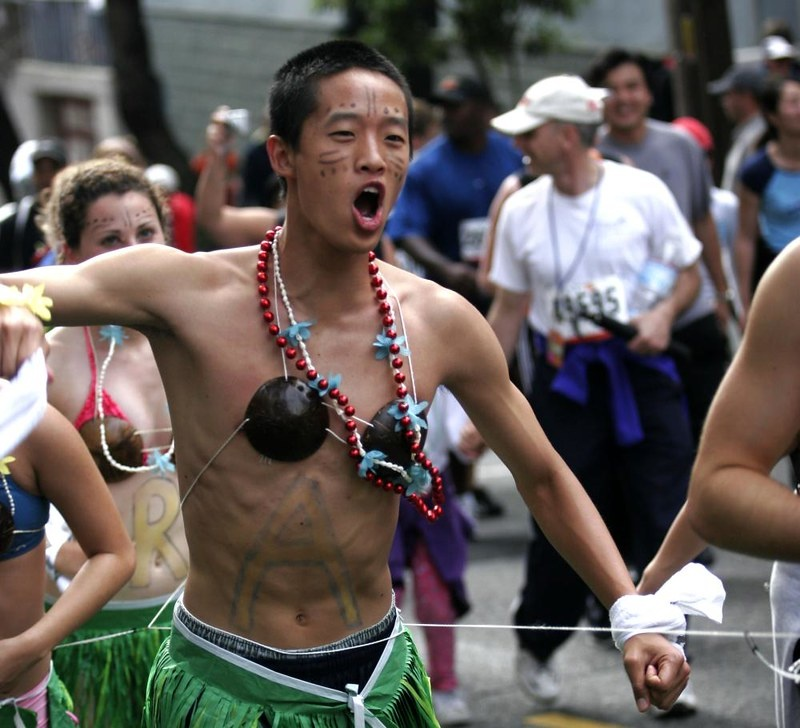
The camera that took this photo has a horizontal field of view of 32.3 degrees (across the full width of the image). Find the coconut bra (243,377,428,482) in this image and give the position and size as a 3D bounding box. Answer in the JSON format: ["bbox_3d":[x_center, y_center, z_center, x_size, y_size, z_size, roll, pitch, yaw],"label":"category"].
[{"bbox_3d":[-0.151,0.147,3.065,0.355,0.201,0.153,17,-10,-15],"label":"coconut bra"}]

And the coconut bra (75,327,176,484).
[{"bbox_3d":[-0.790,0.141,3.905,0.097,0.470,0.285,-19,-14,37],"label":"coconut bra"}]

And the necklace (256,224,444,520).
[{"bbox_3d":[-0.166,-0.009,3.141,0.279,0.824,0.088,-17,-15,-35],"label":"necklace"}]

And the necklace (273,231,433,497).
[{"bbox_3d":[-0.143,0.064,3.119,0.281,0.631,0.136,-22,-6,-44],"label":"necklace"}]

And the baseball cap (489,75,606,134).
[{"bbox_3d":[0.624,-0.940,5.272,0.445,0.194,0.301,-7,-3,8],"label":"baseball cap"}]

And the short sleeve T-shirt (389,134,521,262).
[{"bbox_3d":[0.267,-0.770,6.524,0.726,0.662,0.253,-4,36,-30],"label":"short sleeve T-shirt"}]

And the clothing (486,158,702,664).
[{"bbox_3d":[0.774,0.105,5.258,0.755,2.290,0.717,-6,33,11],"label":"clothing"}]
